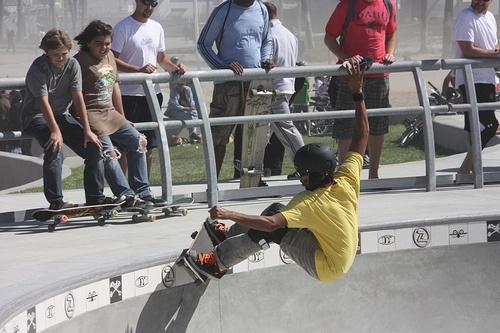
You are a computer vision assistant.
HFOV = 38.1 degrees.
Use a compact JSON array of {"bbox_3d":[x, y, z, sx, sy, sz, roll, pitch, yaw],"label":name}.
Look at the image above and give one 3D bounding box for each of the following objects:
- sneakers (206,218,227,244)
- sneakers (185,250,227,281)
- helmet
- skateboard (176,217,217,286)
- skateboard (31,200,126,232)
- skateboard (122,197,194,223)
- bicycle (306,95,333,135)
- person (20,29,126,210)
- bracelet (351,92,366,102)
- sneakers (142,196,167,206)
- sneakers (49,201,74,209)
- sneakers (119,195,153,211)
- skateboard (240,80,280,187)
[{"bbox_3d":[-0.310,0.598,6.624,0.112,0.267,0.091,-35,6,37],"label":"sneakers"},{"bbox_3d":[-0.388,0.878,6.396,0.430,0.189,0.147,27,28,-30],"label":"sneakers"},{"bbox_3d":[0.563,-0.010,6.292,0.383,0.395,0.300,0,23,4],"label":"helmet"},{"bbox_3d":[-0.471,0.767,6.514,0.100,0.271,0.652,-42,11,30],"label":"skateboard"},{"bbox_3d":[-1.546,0.438,7.366,1.252,0.313,0.210,-3,35,-25],"label":"skateboard"},{"bbox_3d":[-0.931,0.462,7.582,0.270,0.160,0.917,7,7,37],"label":"skateboard"},{"bbox_3d":[1.839,-1.347,19.018,0.779,0.900,1.480,2,13,7],"label":"bicycle"},{"bbox_3d":[-1.864,-0.379,7.308,0.796,1.587,0.481,-7,10,-18],"label":"person"},{"bbox_3d":[1.011,-0.658,6.763,0.113,0.071,0.101,-13,7,-31],"label":"bracelet"},{"bbox_3d":[-0.979,0.359,7.477,0.274,0.105,0.101,6,5,11],"label":"sneakers"},{"bbox_3d":[-1.873,0.387,7.265,0.238,0.095,0.083,0,-3,0],"label":"sneakers"},{"bbox_3d":[-1.167,0.363,7.455,0.372,0.162,0.123,2,-3,-14],"label":"sneakers"},{"bbox_3d":[0.032,-0.517,8.584,0.471,0.280,1.976,0,43,11],"label":"skateboard"}]
